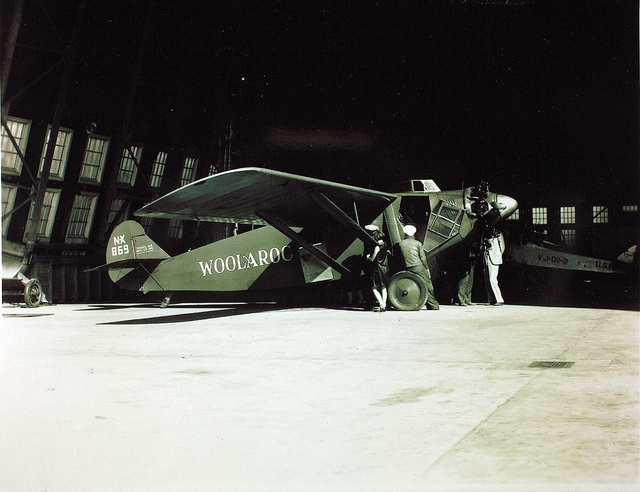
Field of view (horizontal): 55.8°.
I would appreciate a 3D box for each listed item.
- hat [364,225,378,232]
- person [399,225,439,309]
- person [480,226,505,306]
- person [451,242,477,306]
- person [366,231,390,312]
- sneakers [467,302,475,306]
[{"bbox_3d":[1.078,-0.394,12.717,0.257,0.147,0.547,-1,7,3],"label":"hat"},{"bbox_3d":[2.131,0.438,13.027,0.824,1.802,0.961,0,6,7],"label":"person"},{"bbox_3d":[4.015,0.473,14.036,0.464,1.748,0.350,1,6,16],"label":"person"},{"bbox_3d":[3.436,0.626,14.143,0.472,1.480,0.544,0,6,12],"label":"person"},{"bbox_3d":[1.198,0.442,12.674,0.424,1.801,0.572,0,6,9],"label":"person"},{"bbox_3d":[3.564,1.341,14.255,0.119,0.045,0.076,1,5,-40],"label":"sneakers"}]
